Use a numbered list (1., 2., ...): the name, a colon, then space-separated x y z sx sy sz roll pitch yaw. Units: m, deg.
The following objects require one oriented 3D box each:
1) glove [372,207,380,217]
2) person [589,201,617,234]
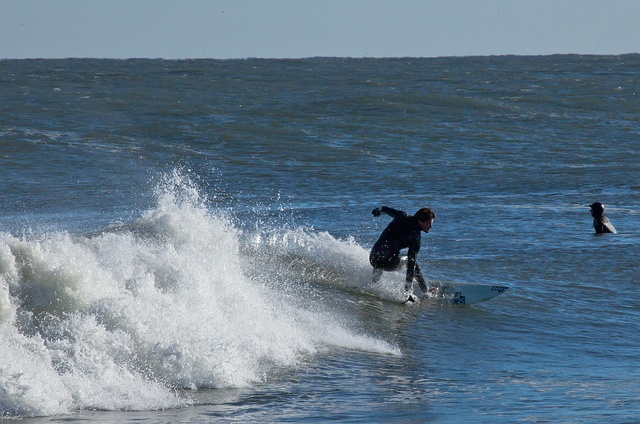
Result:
1. glove: 2.296 0.012 62.771 0.291 0.270 0.369 9 -3 -38
2. person: 13.024 0.579 68.559 1.155 2.081 1.002 2 18 19
